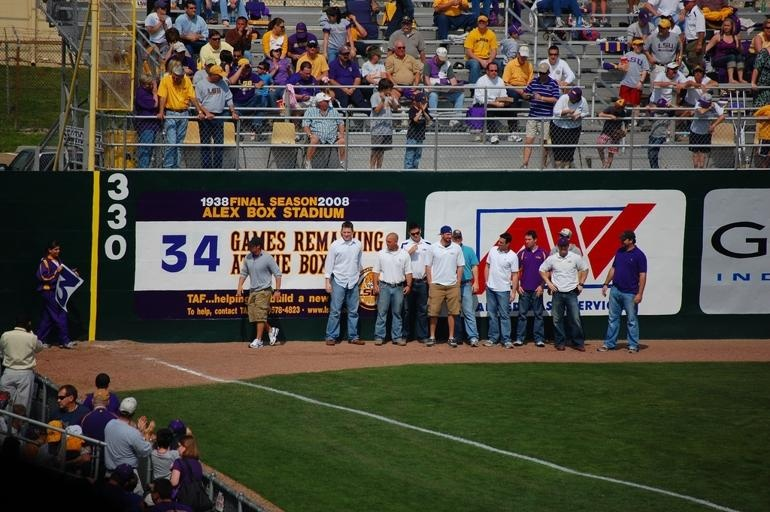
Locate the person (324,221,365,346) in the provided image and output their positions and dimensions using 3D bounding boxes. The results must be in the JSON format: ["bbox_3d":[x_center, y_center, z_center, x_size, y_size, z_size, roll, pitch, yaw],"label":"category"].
[{"bbox_3d":[-1.071,0.688,37.459,1.134,3.347,0.710,-3,7,-25],"label":"person"}]

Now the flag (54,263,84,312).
[{"bbox_3d":[-8.348,0.764,36.806,0.887,1.141,0.122,30,-23,-33],"label":"flag"}]
